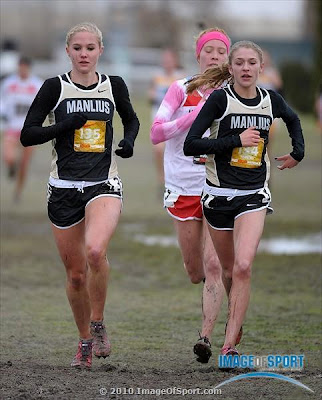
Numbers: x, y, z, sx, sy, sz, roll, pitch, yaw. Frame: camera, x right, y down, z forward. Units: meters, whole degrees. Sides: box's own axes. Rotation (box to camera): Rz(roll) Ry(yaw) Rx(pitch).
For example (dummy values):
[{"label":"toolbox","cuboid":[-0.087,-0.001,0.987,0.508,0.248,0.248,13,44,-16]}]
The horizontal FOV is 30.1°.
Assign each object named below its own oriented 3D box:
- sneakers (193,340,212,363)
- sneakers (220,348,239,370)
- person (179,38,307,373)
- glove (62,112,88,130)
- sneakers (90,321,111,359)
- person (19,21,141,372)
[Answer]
[{"label":"sneakers","cuboid":[0.265,0.902,3.629,0.101,0.152,0.078,17,46,14]},{"label":"sneakers","cuboid":[0.398,0.913,3.428,0.111,0.155,0.139,-1,0,5]},{"label":"person","cuboid":[0.504,0.102,3.564,0.525,1.561,0.595,-1,-1,33]},{"label":"glove","cuboid":[-0.488,-0.445,3.429,0.127,0.095,0.145,-1,0,-26]},{"label":"sneakers","cuboid":[-0.364,0.842,3.630,0.098,0.118,0.262,-9,21,-12]},{"label":"person","cuboid":[-0.438,-0.019,3.602,0.750,2.072,0.472,-1,-1,-20]}]
